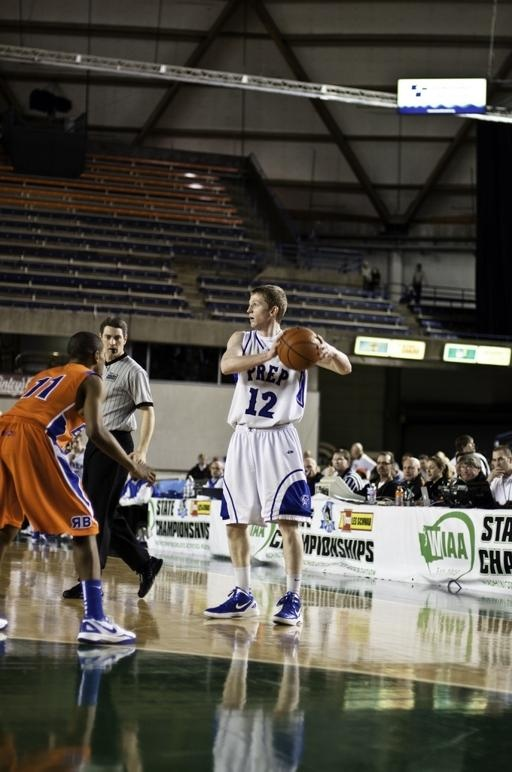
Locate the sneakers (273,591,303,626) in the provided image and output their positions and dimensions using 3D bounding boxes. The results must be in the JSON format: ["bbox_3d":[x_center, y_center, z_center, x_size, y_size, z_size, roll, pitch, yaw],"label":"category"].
[{"bbox_3d":[0.171,1.190,5.097,0.145,0.164,0.237,2,-9,3],"label":"sneakers"}]

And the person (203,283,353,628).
[{"bbox_3d":[0.089,0.335,5.222,0.634,1.883,0.655,3,-9,-2],"label":"person"}]

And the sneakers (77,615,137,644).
[{"bbox_3d":[-0.646,1.064,4.164,0.291,0.112,0.101,3,-2,-13],"label":"sneakers"}]

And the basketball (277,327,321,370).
[{"bbox_3d":[0.224,-0.204,5.024,0.226,0.251,0.277,2,-9,2],"label":"basketball"}]

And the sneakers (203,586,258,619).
[{"bbox_3d":[-0.179,1.200,5.256,0.362,0.194,0.122,-1,-5,-10],"label":"sneakers"}]
